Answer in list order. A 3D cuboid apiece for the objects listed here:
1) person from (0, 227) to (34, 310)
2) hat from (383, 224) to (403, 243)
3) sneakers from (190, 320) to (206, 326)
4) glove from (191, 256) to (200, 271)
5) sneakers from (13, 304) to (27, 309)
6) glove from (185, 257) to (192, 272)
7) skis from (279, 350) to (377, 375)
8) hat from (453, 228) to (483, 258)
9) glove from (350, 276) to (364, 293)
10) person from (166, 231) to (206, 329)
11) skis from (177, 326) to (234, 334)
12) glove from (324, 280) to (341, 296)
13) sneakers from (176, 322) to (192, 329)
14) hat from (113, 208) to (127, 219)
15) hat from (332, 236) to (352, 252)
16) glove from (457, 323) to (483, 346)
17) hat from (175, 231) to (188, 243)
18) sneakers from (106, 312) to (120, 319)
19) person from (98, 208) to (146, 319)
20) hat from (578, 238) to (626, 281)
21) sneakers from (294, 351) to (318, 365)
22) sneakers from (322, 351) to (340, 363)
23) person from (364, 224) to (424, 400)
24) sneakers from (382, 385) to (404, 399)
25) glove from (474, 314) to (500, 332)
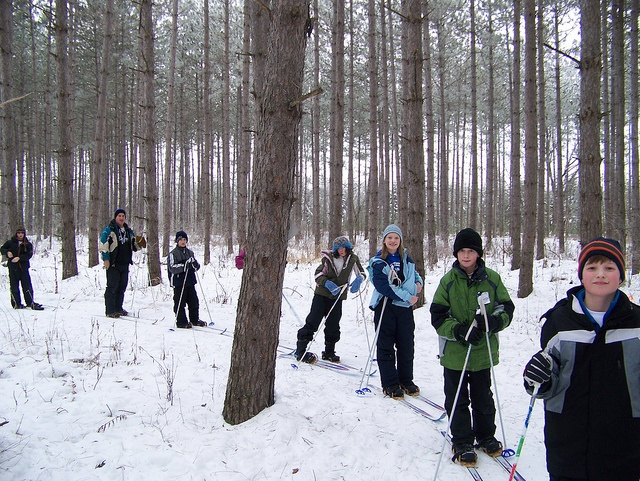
[{"bbox_3d":[-7.725,0.659,14.315,0.952,2.027,0.710,3,4,43],"label":"person"},{"bbox_3d":[1.444,-0.183,11.123,0.296,0.351,0.353,7,-13,0],"label":"hat"},{"bbox_3d":[-2.928,1.997,13.374,0.350,0.216,0.130,0,-3,-1],"label":"sneakers"},{"bbox_3d":[-3.004,0.557,13.537,0.201,0.327,0.252,-3,3,-23],"label":"glove"},{"bbox_3d":[-7.550,1.685,13.997,0.181,0.083,0.129,5,-7,-9],"label":"sneakers"},{"bbox_3d":[-3.138,0.571,13.326,0.090,0.288,0.232,2,3,20],"label":"glove"},{"bbox_3d":[0.126,2.586,11.603,1.972,0.270,0.255,8,21,23],"label":"skis"},{"bbox_3d":[2.605,0.041,9.803,0.395,0.515,0.503,3,-4,12],"label":"hat"},{"bbox_3d":[0.768,0.940,11.780,0.213,0.373,0.158,31,-15,0],"label":"glove"},{"bbox_3d":[-3.229,0.921,13.368,0.823,2.288,0.628,0,3,-18],"label":"person"},{"bbox_3d":[-2.688,2.114,12.999,0.738,0.052,0.231,5,2,10],"label":"skis"},{"bbox_3d":[0.263,1.005,11.723,0.317,0.223,0.088,46,-1,-5],"label":"glove"},{"bbox_3d":[-3.200,2.045,13.194,0.364,0.223,0.137,-2,-3,-6],"label":"sneakers"},{"bbox_3d":[-4.996,-0.704,13.960,0.205,0.297,0.284,3,7,-28],"label":"hat"},{"bbox_3d":[0.467,0.048,12.130,0.324,0.304,0.323,0,-6,-5],"label":"hat"},{"bbox_3d":[2.577,1.664,9.675,0.502,0.404,0.248,2,3,18],"label":"glove"},{"bbox_3d":[-3.371,-0.099,13.528,0.213,0.258,0.262,3,-8,-41],"label":"hat"},{"bbox_3d":[-4.981,1.828,13.464,0.313,0.183,0.131,0,-4,-9],"label":"sneakers"},{"bbox_3d":[-5.007,0.518,13.789,0.618,2.636,0.983,2,3,19],"label":"person"},{"bbox_3d":[4.481,0.262,8.854,0.578,0.758,0.685,0,-16,35],"label":"hat"},{"bbox_3d":[-0.291,2.491,11.659,0.357,0.199,0.225,-3,-22,25],"label":"sneakers"},{"bbox_3d":[0.236,2.493,11.843,0.362,0.198,0.159,-3,-8,41],"label":"sneakers"},{"bbox_3d":[1.454,1.363,10.922,0.995,3.311,0.706,1,3,6],"label":"person"},{"bbox_3d":[1.428,2.948,10.706,0.178,0.192,0.334,5,-13,-26],"label":"sneakers"},{"bbox_3d":[2.912,1.461,9.628,0.471,0.342,0.164,0,3,-14],"label":"glove"}]
